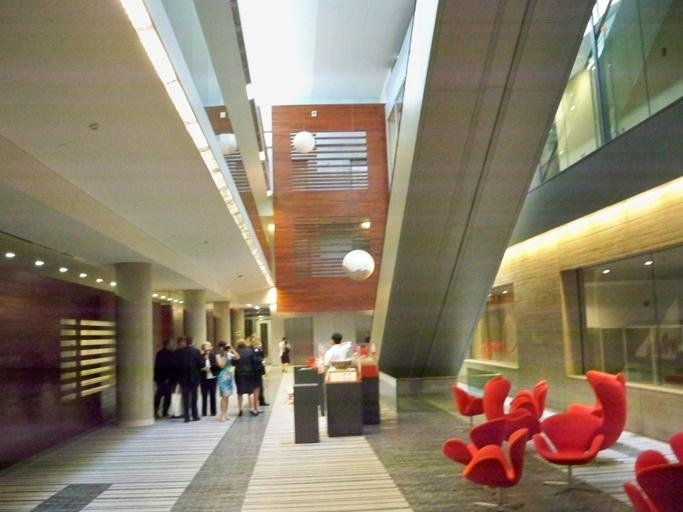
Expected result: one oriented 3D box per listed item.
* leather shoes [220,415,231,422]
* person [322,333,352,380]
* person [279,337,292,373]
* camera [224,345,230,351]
[{"bbox_3d":[-2.621,3.615,10.637,0.272,0.203,0.125,-12,-15,33],"label":"leather shoes"},{"bbox_3d":[-0.058,2.048,9.338,0.578,1.209,0.405,-12,23,-21],"label":"person"},{"bbox_3d":[-2.546,4.441,21.668,0.491,1.370,2.067,-3,-4,-6],"label":"person"},{"bbox_3d":[-2.622,2.080,10.865,0.037,0.133,0.158,6,1,35],"label":"camera"}]
